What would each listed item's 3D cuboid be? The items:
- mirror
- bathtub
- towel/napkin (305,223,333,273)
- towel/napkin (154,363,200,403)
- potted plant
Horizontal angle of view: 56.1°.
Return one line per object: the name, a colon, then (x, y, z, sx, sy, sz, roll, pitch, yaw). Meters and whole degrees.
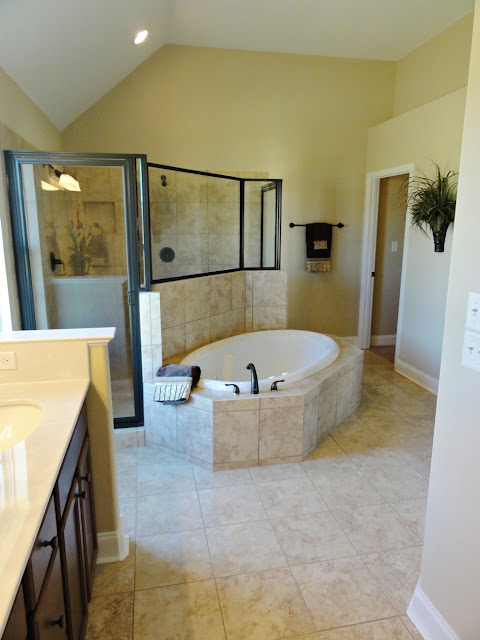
mirror: (-0.199, -0.738, 3.633, 0.019, 0.696, 0.941, 11, 17, 39)
bathtub: (0.184, 0.387, 3.447, 1.116, 0.355, 1.396, 2, 11, 11)
towel/napkin: (0.848, -0.785, 4.879, 0.250, 0.553, 0.080, 1, -16, 13)
towel/napkin: (-0.407, 0.411, 2.809, 0.282, 0.218, 0.298, 1, 10, 4)
potted plant: (1.570, -0.922, 3.776, 0.260, 0.708, 0.714, 1, 10, 4)
